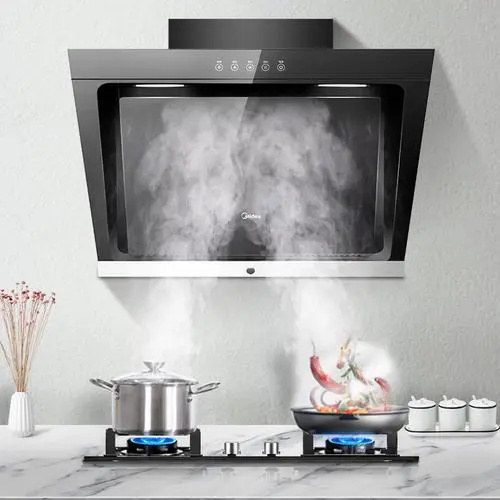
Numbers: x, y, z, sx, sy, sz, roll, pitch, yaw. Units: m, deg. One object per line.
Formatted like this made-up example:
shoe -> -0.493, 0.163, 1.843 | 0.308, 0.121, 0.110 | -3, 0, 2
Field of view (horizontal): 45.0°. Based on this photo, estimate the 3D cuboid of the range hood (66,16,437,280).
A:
range hood -> 0.004, -0.245, 1.779 | 1.023, 0.642, 0.210 | 0, -4, 0

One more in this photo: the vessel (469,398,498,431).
vessel -> 0.658, 0.484, 1.768 | 0.062, 0.095, 0.099 | -1, -1, 1

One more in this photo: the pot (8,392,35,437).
pot -> -0.683, 0.486, 1.780 | 0.110, 0.119, 0.104 | -2, -13, -1

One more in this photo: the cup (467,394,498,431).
cup -> 0.671, 0.481, 1.804 | 0.063, 0.096, 0.100 | -1, 0, 2

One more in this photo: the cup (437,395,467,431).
cup -> 0.597, 0.487, 1.801 | 0.064, 0.099, 0.102 | 0, 0, 12

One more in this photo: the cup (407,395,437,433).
cup -> 0.504, 0.487, 1.794 | 0.072, 0.088, 0.089 | 0, -3, -22

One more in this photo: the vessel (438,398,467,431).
vessel -> 0.586, 0.468, 1.769 | 0.054, 0.085, 0.086 | -2, -29, -8

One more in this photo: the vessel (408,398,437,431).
vessel -> 0.501, 0.485, 1.793 | 0.073, 0.089, 0.095 | -1, -1, -33

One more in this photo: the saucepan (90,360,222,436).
saucepan -> -0.246, 0.383, 1.516 | 0.303, 0.154, 0.173 | 0, -8, -1
